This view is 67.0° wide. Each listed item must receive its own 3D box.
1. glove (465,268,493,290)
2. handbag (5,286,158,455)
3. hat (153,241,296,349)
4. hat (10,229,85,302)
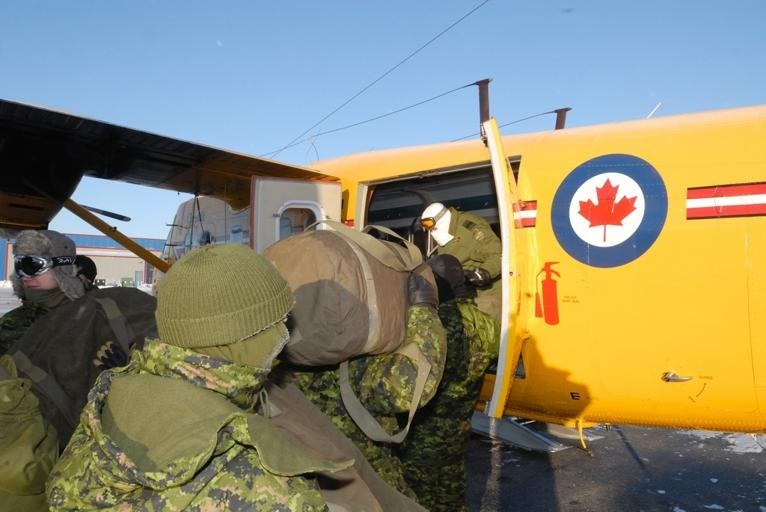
[{"bbox_3d":[0.949,0.248,5.810,0.264,0.105,0.195,14,44,11],"label":"glove"},{"bbox_3d":[-1.935,0.730,4.119,0.984,1.183,0.399,-3,-24,32],"label":"handbag"},{"bbox_3d":[-0.784,0.151,2.872,0.565,0.341,0.541,-5,17,-23],"label":"hat"},{"bbox_3d":[-2.560,0.068,4.465,0.491,0.531,0.496,1,4,38],"label":"hat"}]
